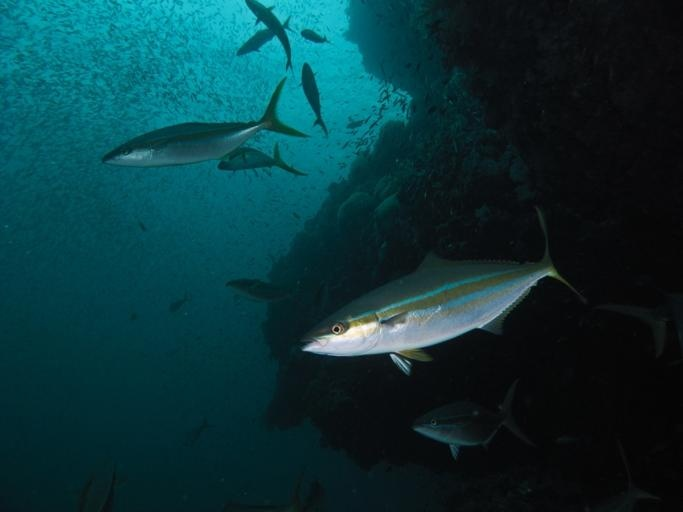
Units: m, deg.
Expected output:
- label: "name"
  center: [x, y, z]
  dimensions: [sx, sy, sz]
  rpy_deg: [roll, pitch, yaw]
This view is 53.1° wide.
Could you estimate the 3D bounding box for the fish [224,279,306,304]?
- label: "fish"
  center: [-2.107, 0.921, 18.692]
  dimensions: [2.297, 0.607, 0.365]
  rpy_deg: [-1, -10, 21]
